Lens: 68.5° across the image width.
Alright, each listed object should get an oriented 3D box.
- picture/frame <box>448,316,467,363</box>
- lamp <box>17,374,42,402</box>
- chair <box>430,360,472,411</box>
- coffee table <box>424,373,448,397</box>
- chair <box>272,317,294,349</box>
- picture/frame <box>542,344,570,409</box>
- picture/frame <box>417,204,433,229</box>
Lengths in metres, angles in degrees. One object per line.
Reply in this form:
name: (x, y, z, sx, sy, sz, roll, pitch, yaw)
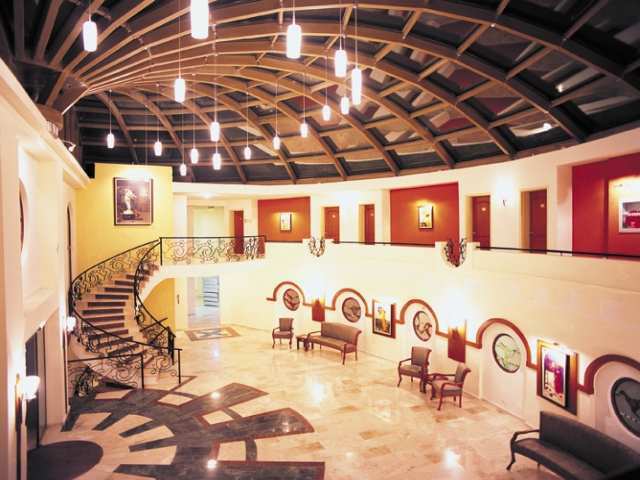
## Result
picture/frame: (4.350, 3.127, 14.763, 0.083, 1.372, 0.740, -4, 9, -35)
lamp: (-5.748, 2.909, 9.254, 0.178, 0.672, 0.882, -2, 8, -19)
chair: (3.859, 4.290, 14.110, 1.189, 1.252, 0.994, -1, 0, -6)
coffee table: (3.548, 4.429, 14.539, 0.651, 0.840, 0.623, 1, -4, -8)
chair: (-1.542, 3.770, 19.179, 0.965, 1.425, 1.009, -1, -5, 14)
picture/frame: (5.975, 3.401, 11.873, 0.129, 1.413, 0.879, -1, 8, -17)
picture/frame: (4.023, -0.911, 17.734, 0.112, 1.178, 0.803, 5, -6, -33)
